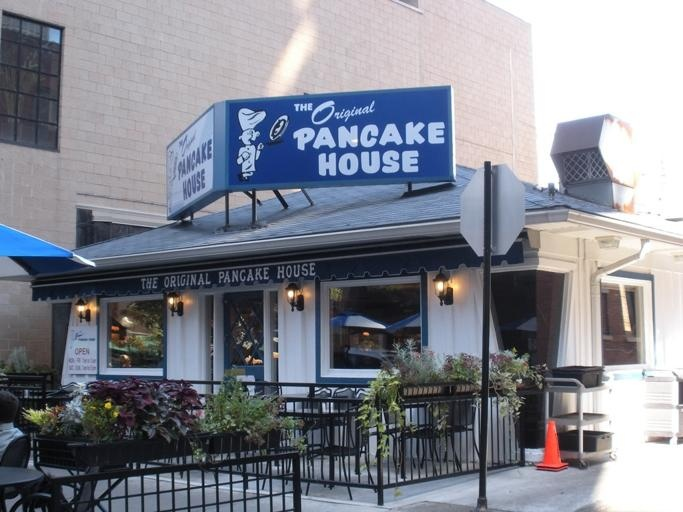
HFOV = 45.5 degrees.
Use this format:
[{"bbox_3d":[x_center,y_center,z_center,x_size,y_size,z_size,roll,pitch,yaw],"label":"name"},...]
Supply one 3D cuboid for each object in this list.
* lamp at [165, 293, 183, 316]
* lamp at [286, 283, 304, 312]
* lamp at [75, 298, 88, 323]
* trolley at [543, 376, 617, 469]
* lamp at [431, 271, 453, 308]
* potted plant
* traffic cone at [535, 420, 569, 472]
[{"bbox_3d":[-3.249,0.911,15.747,0.365,0.439,0.240,-11,-15,41],"label":"lamp"},{"bbox_3d":[-0.815,0.697,14.182,0.309,0.496,0.163,-8,-13,31],"label":"lamp"},{"bbox_3d":[-5.488,1.104,17.209,0.390,0.469,0.174,-12,-16,42],"label":"lamp"},{"bbox_3d":[3.666,2.493,12.627,0.740,1.324,1.100,-4,-6,45],"label":"trolley"},{"bbox_3d":[1.621,0.481,12.837,0.276,0.554,0.173,-7,-13,26],"label":"lamp"},{"bbox_3d":[-1.802,1.704,8.449,1.768,0.518,1.463,3,-9,-31],"label":"potted plant"},{"bbox_3d":[3.106,2.753,11.905,0.517,0.670,0.525,-3,-11,17],"label":"traffic cone"}]
